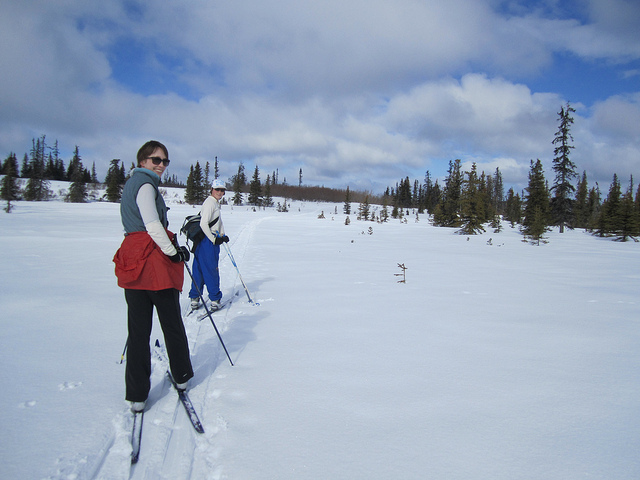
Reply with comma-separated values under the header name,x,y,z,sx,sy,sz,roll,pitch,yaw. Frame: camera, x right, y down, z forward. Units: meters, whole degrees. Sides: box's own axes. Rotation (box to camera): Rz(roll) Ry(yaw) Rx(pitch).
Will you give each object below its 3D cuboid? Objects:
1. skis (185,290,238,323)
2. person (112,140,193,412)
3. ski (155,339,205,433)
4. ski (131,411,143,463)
name,x,y,z,sx,sy,sz,roll,pitch,yaw
skis,-1.978,1.296,9.426,0.281,0.103,0.849,29,44,21
person,-2.285,0.465,6.726,0.980,3.561,0.931,-2,9,-18
ski,-1.950,2.068,6.814,0.136,0.188,1.671,-3,39,-38
ski,-2.352,2.517,6.316,0.107,0.753,0.035,2,25,-26
